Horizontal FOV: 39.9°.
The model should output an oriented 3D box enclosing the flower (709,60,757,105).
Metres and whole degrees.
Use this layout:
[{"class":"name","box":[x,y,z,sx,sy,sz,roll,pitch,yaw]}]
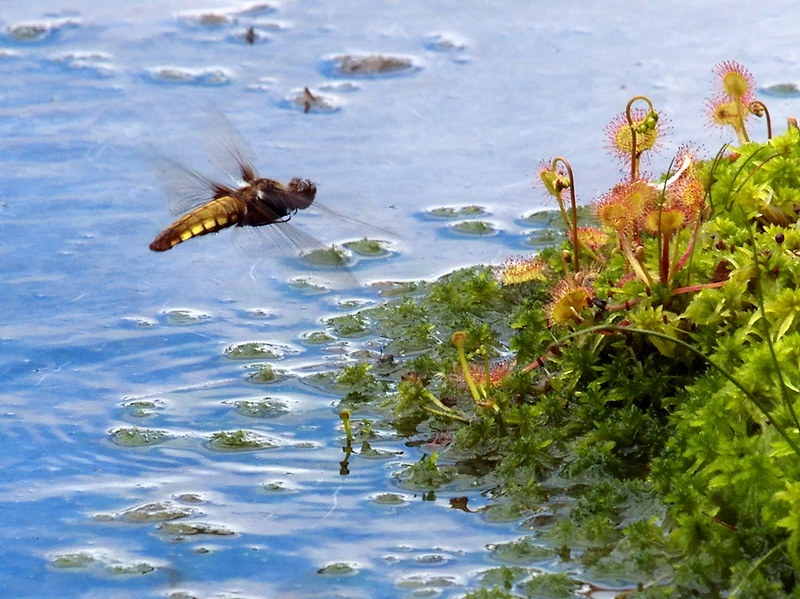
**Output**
[{"class":"flower","box":[1.950,-1.222,6.274,0.053,0.173,0.227,-35,6,-28]}]
